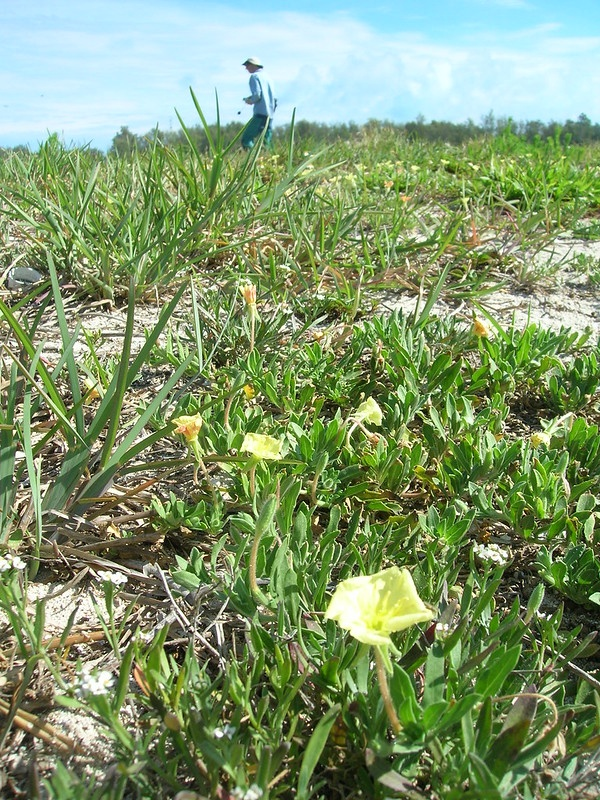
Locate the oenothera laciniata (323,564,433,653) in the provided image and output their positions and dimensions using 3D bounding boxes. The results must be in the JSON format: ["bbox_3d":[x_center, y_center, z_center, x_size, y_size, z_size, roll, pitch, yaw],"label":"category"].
[{"bbox_3d":[0.105,0.290,0.931,0.142,0.057,0.147,-5,17,-13],"label":"oenothera laciniata"}]
